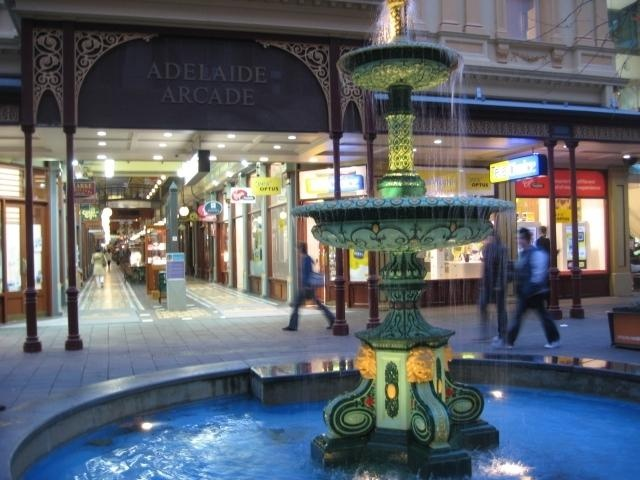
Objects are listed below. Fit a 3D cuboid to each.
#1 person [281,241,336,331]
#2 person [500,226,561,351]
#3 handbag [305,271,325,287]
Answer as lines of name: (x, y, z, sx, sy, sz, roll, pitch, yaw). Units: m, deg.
person: (-0.312, 1.143, 13.850, 1.385, 2.240, 0.688, -3, 15, 1)
person: (3.869, 0.902, 10.894, 0.919, 2.231, 0.467, 0, 3, 1)
handbag: (-0.164, 0.949, 13.911, 0.353, 0.306, 0.369, 2, -1, -23)
